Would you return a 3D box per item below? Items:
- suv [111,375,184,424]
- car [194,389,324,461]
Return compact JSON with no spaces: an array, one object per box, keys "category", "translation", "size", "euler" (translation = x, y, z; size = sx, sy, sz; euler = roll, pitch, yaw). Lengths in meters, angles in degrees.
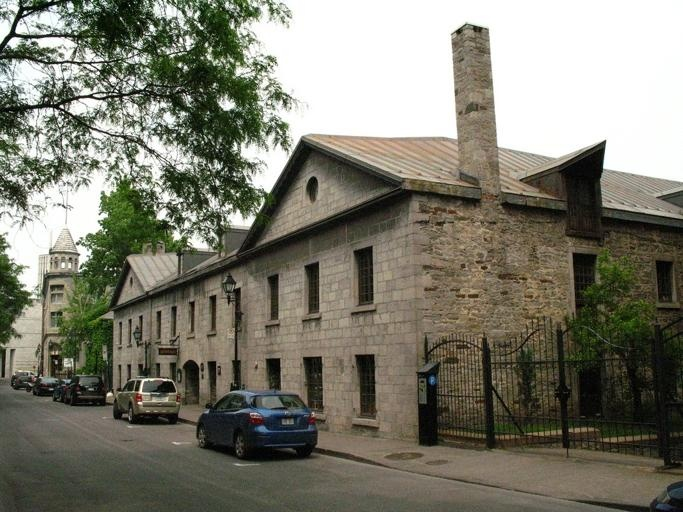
[{"category":"suv","translation":[-8.310,6.100,30.681],"size":[1.733,1.369,3.188],"euler":[7,-10,-29]},{"category":"car","translation":[-2.453,4.702,20.364],"size":[3.336,1.894,1.674],"euler":[-4,-3,44]}]
